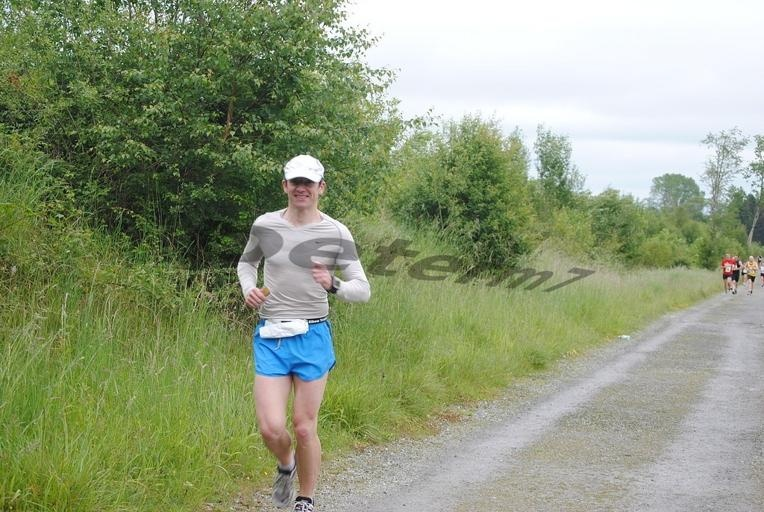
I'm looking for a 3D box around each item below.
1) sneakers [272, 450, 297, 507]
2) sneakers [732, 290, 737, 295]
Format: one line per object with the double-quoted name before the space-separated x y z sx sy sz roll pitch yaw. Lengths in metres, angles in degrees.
"sneakers" -1.044 2.402 7.840 0.198 0.616 0.258 1 7 0
"sneakers" 16.484 1.694 34.045 0.262 0.269 0.123 -5 3 -35
